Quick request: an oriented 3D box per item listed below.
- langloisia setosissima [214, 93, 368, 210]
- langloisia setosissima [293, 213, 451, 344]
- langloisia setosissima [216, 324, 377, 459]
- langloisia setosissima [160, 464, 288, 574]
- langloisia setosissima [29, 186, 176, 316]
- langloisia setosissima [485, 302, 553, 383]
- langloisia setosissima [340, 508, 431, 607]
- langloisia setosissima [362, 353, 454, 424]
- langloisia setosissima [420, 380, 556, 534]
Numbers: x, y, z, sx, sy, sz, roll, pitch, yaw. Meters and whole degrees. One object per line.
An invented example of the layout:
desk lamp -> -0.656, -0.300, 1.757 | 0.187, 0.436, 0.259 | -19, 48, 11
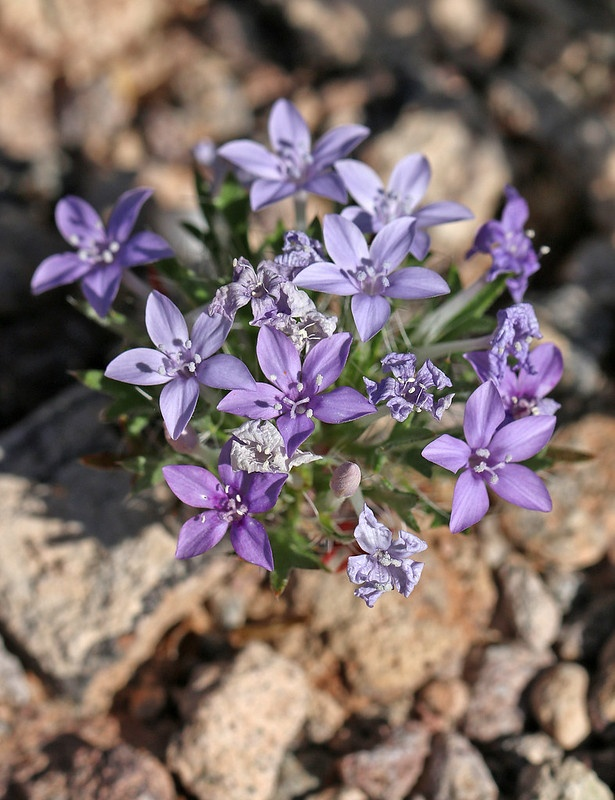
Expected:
langloisia setosissima -> -0.054, -0.833, 2.759 | 0.531, 0.170, 0.422 | 3, 71, -6
langloisia setosissima -> 0.192, -0.410, 2.429 | 0.446, 0.166, 0.419 | -37, 80, -10
langloisia setosissima -> -0.006, -0.022, 2.318 | 0.409, 0.147, 0.402 | 22, 76, 3
langloisia setosissima -> -0.265, 0.337, 2.346 | 0.368, 0.208, 0.295 | 6, 76, 0
langloisia setosissima -> -0.652, -0.518, 2.594 | 0.445, 0.189, 0.421 | -33, 89, 31
langloisia setosissima -> 0.640, -0.185, 2.462 | 0.205, 0.073, 0.231 | -11, 107, -41
langloisia setosissima -> 0.243, 0.442, 2.368 | 0.297, 0.127, 0.271 | -25, 86, 18
langloisia setosissima -> 0.254, -0.054, 2.409 | 0.365, 0.353, 0.114 | -7, 105, 12
langloisia setosissima -> 0.565, 0.155, 2.371 | 0.445, 0.192, 0.408 | -15, 77, -6
